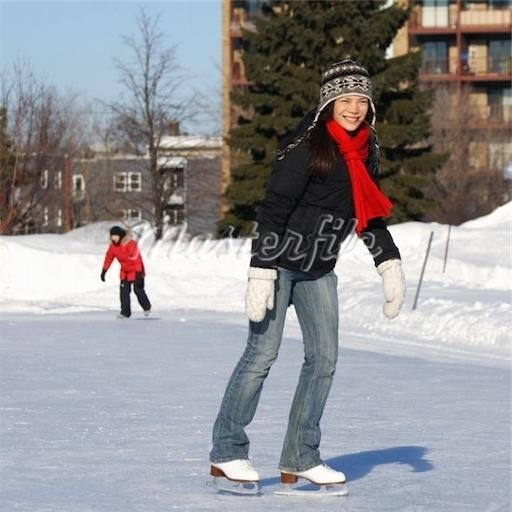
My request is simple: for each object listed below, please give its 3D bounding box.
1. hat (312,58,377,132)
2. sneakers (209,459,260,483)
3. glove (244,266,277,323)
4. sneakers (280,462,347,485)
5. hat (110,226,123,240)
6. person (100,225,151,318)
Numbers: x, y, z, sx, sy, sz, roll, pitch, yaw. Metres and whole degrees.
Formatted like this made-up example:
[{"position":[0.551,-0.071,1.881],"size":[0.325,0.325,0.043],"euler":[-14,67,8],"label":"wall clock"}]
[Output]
[{"position":[0.724,-1.324,10.406],"size":[0.500,0.477,0.516],"euler":[-16,-13,32],"label":"hat"},{"position":[-0.153,1.650,10.235],"size":[0.410,0.202,0.157],"euler":[-2,1,23],"label":"sneakers"},{"position":[0.044,0.305,10.073],"size":[0.224,0.409,0.159],"euler":[7,-6,10],"label":"glove"},{"position":[0.454,1.690,10.287],"size":[0.521,0.243,0.188],"euler":[-1,1,3],"label":"sneakers"},{"position":[-2.241,-0.395,21.005],"size":[0.168,0.242,0.222],"euler":[16,1,19],"label":"hat"},{"position":[-2.106,0.253,21.376],"size":[0.766,1.499,1.163],"euler":[-1,3,-6],"label":"person"}]
